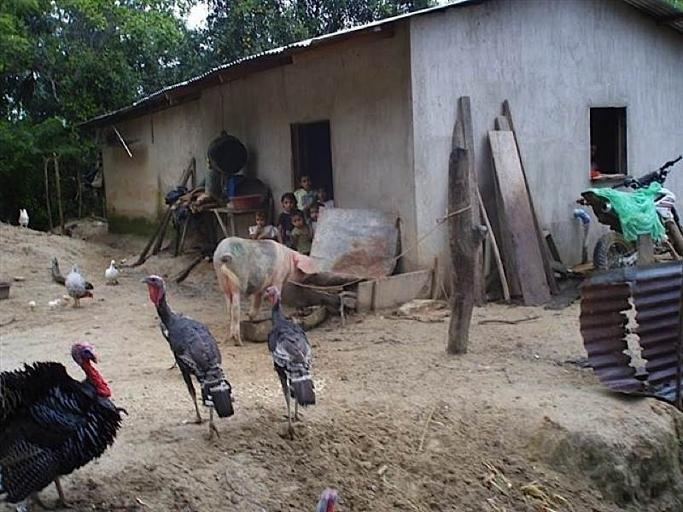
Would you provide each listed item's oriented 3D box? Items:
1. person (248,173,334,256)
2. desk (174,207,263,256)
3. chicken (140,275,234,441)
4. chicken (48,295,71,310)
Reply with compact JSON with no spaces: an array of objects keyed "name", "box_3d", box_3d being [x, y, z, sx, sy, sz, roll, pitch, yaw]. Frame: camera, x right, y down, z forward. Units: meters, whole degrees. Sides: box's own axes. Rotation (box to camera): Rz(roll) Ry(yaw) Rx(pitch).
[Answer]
[{"name":"person","box_3d":[-0.877,-0.676,12.827,1.140,1.844,1.047,9,12,25]},{"name":"desk","box_3d":[-2.441,-0.786,13.601,0.928,1.026,1.768,-3,6,-33]},{"name":"chicken","box_3d":[-1.545,0.972,6.689,0.405,1.235,1.544,-8,17,-42]},{"name":"chicken","box_3d":[-4.791,0.801,11.080,0.283,0.219,0.478,1,1,-11]}]
